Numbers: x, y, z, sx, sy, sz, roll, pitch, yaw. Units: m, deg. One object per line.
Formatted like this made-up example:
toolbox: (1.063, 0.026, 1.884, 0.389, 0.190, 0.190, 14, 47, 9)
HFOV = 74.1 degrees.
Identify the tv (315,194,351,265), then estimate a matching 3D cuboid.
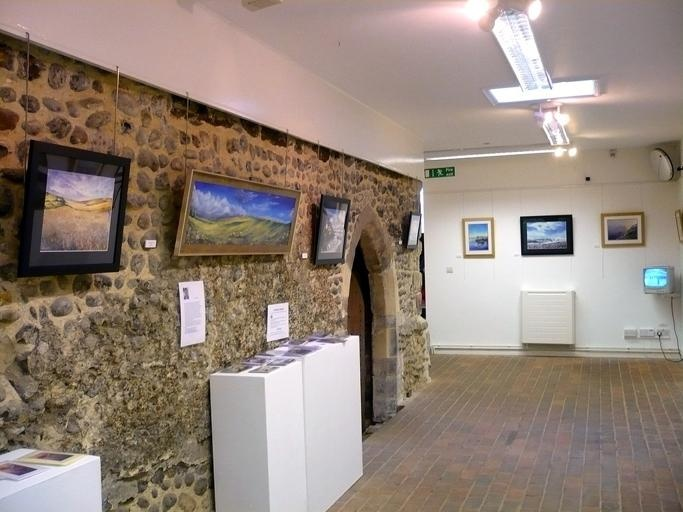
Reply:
tv: (-0.097, -0.274, 4.703, 0.056, 0.716, 0.807, 5, 3, 20)

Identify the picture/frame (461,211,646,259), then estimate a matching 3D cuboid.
picture/frame: (4.311, -0.431, 9.301, 3.370, 0.973, 0.149, -2, -1, 13)

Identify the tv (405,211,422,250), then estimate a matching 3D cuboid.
tv: (1.147, -0.437, 7.339, 0.065, 0.651, 0.889, 11, 2, 15)
